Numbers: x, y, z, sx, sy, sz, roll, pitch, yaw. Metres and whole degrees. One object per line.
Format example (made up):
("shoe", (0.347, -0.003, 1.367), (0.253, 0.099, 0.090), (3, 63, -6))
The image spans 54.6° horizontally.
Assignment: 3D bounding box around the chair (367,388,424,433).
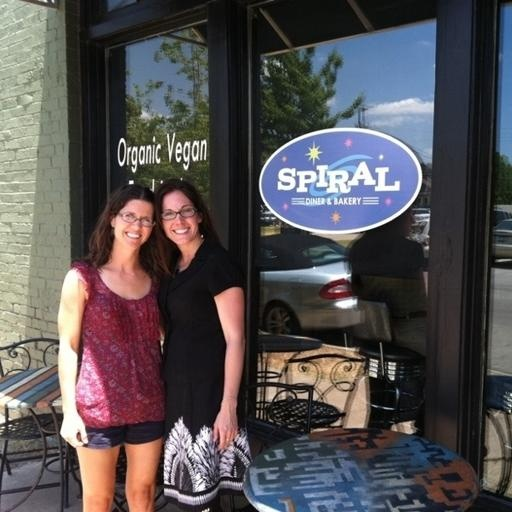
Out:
("chair", (0.695, 0.773, 2.503), (0.255, 0.262, 0.151), (-2, 4, -13))
